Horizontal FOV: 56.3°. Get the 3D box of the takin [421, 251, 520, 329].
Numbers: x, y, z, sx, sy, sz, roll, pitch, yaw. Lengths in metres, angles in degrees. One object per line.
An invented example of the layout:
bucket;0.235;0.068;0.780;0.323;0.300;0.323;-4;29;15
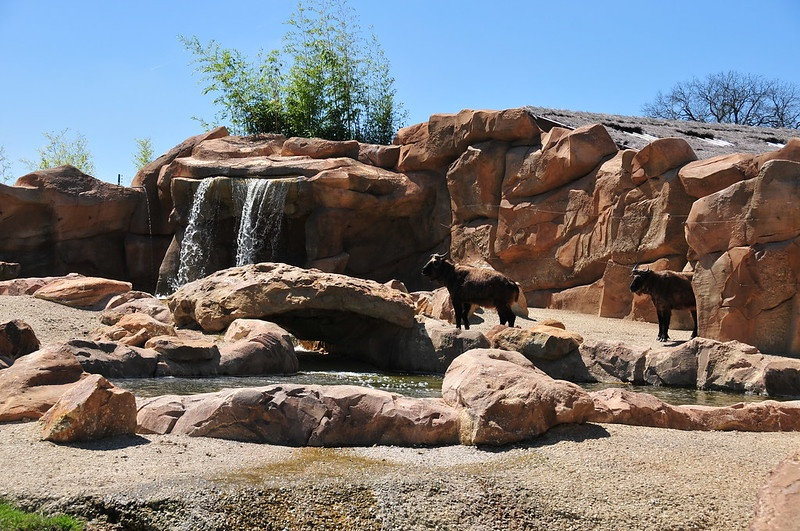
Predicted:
takin;1.767;0.607;17.831;1.612;1.168;0.556;10;17;28
